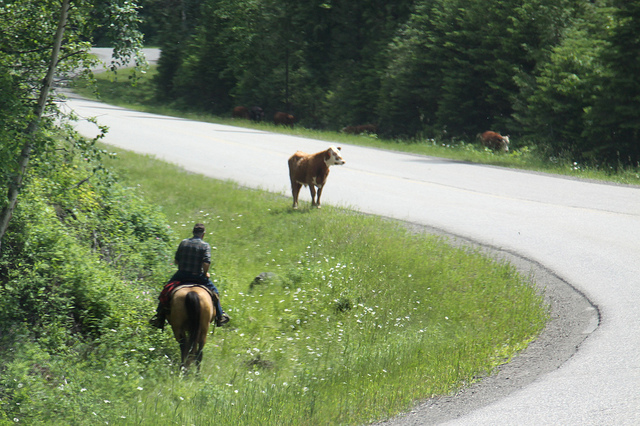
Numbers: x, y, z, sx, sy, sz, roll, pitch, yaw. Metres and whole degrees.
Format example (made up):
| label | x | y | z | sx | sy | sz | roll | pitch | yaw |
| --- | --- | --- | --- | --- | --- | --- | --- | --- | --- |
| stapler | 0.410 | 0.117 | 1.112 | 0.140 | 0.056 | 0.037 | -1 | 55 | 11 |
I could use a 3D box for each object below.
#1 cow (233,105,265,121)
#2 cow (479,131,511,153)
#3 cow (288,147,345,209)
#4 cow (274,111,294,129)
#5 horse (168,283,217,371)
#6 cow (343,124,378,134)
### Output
| label | x | y | z | sx | sy | sz | roll | pitch | yaw |
| --- | --- | --- | --- | --- | --- | --- | --- | --- | --- |
| cow | -4.893 | -6.842 | 63.106 | 2.545 | 1.238 | 0.841 | 1 | 20 | -3 |
| cow | 8.250 | -3.444 | 43.930 | 2.033 | 1.033 | 0.619 | 16 | 29 | 39 |
| cow | -0.356 | -1.284 | 31.708 | 1.015 | 2.338 | 2.061 | -6 | 20 | -41 |
| cow | -2.309 | -5.940 | 58.965 | 1.053 | 0.769 | 1.862 | 0 | 17 | -26 |
| horse | -3.430 | 3.010 | 23.964 | 1.115 | 2.123 | 0.904 | 6 | 15 | -4 |
| cow | 2.290 | -4.722 | 52.504 | 1.920 | 0.535 | 1.194 | 6 | 15 | -4 |
